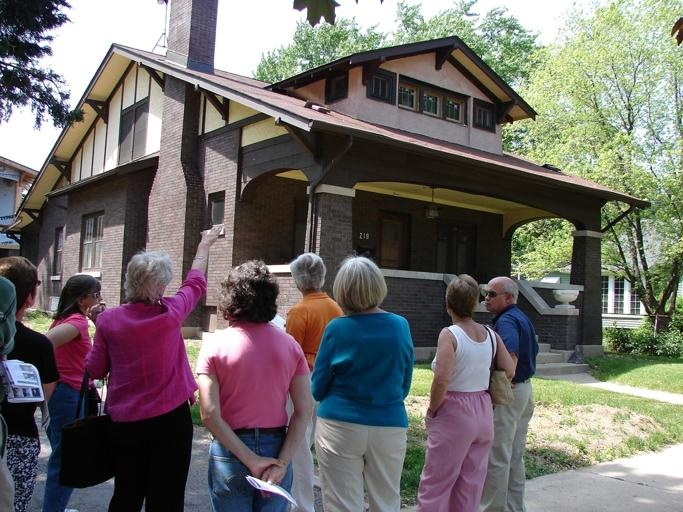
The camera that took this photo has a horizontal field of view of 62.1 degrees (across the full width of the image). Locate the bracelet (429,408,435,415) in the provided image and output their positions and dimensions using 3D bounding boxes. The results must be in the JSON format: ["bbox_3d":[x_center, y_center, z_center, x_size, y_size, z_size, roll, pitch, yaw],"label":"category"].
[{"bbox_3d":[0.680,1.183,4.335,0.031,0.026,0.045,3,-49,0],"label":"bracelet"}]

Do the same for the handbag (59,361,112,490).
[{"bbox_3d":[-1.693,1.119,3.792,0.311,0.805,0.436,3,-1,-28],"label":"handbag"}]
